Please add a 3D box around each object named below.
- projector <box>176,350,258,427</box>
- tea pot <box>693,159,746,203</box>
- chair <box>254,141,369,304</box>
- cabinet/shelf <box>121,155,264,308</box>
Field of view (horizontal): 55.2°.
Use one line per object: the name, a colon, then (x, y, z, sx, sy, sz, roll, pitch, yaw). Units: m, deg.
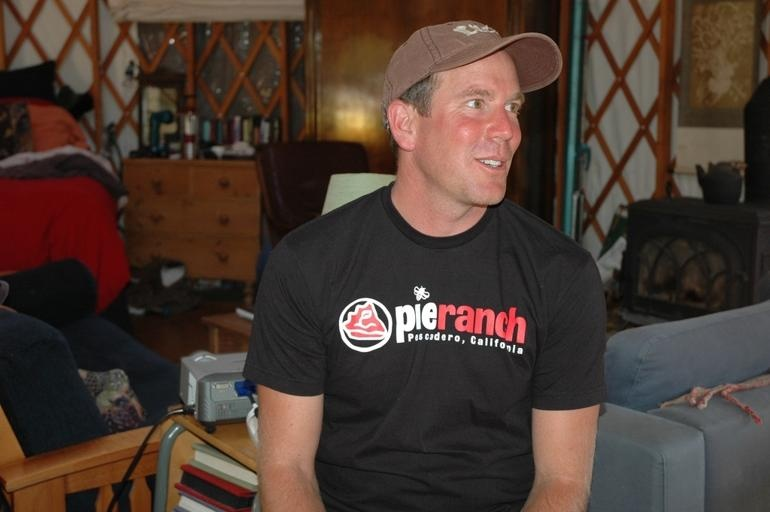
projector: (-0.638, 0.462, 2.745, 0.256, 0.177, 0.267, -6, 19, -26)
tea pot: (2.254, -0.490, 4.950, 0.297, 0.284, 0.242, 1, 2, 31)
chair: (-0.610, -0.331, 5.461, 0.825, 1.162, 0.939, -1, 7, -9)
cabinet/shelf: (-1.725, -0.235, 6.705, 1.204, 1.291, 0.457, 0, 3, 6)
